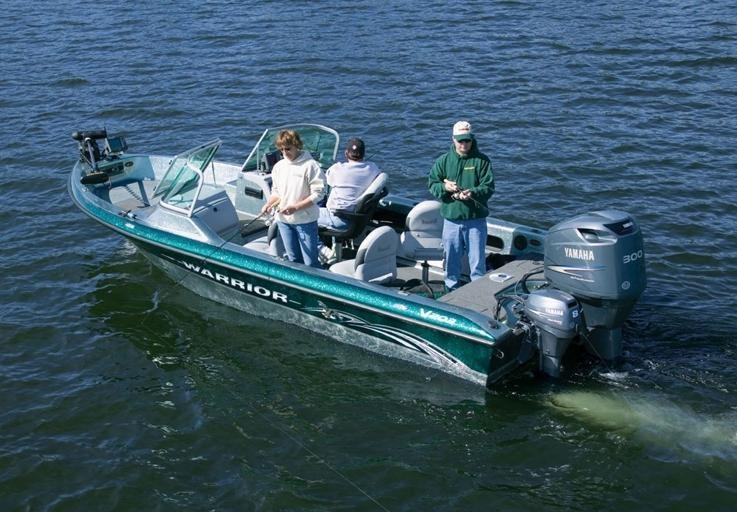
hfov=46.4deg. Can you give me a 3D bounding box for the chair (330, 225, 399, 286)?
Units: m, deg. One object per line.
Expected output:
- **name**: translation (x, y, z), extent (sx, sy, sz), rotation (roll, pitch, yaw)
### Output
- **chair**: translation (-0.092, 0.017, 11.258), extent (0.729, 0.832, 0.626), rotation (7, 29, 19)

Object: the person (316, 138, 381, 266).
- **person**: translation (-0.232, -0.956, 11.592), extent (1.081, 1.211, 0.821), rotation (1, 27, -9)

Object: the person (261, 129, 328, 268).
- **person**: translation (-0.916, -0.704, 11.114), extent (0.766, 1.913, 0.606), rotation (4, 31, 13)

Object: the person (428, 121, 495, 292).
- **person**: translation (1.234, -0.661, 11.280), extent (1.312, 1.888, 0.832), rotation (1, 6, 5)
